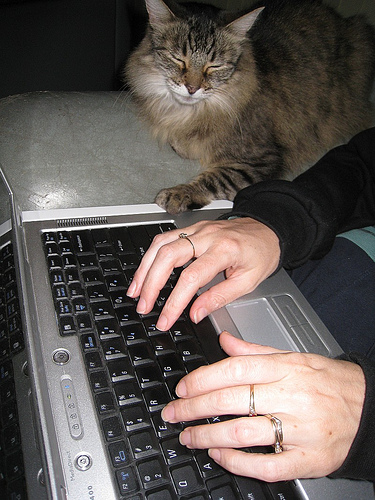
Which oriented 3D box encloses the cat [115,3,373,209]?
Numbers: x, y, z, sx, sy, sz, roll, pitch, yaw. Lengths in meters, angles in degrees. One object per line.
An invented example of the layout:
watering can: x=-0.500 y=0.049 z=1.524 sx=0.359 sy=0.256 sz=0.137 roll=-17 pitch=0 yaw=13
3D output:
cat: x=0.211 y=-0.458 z=1.206 sx=0.489 sy=0.408 sz=0.801 roll=14 pitch=58 yaw=31
